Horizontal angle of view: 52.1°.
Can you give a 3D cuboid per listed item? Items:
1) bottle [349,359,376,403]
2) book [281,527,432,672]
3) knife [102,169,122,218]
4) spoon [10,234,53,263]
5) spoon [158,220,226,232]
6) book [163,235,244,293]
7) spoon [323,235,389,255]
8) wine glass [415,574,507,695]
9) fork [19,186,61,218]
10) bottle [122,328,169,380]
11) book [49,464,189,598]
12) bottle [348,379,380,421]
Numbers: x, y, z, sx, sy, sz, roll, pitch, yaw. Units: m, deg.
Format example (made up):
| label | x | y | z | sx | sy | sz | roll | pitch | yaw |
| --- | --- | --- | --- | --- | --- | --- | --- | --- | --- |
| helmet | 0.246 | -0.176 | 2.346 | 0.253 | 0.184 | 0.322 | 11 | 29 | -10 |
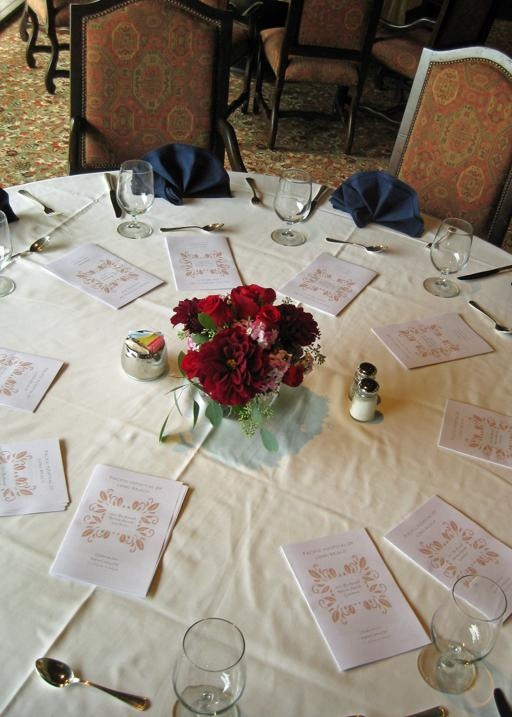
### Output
| label | x | y | z | sx | sy | sz | roll | pitch | yaw |
| --- | --- | --- | --- | --- | --- | --- | --- | --- | --- |
| bottle | 0.187 | 0.043 | 0.923 | 0.029 | 0.069 | 0.028 | 0 | 48 | 0 |
| book | 0.125 | 0.301 | 0.662 | 0.129 | 0.023 | 0.159 | -5 | 42 | -20 |
| knife | -0.379 | -0.445 | 1.406 | 0.040 | 0.025 | 0.276 | -4 | 42 | -14 |
| spoon | -0.499 | -0.249 | 1.183 | 0.027 | 0.020 | 0.119 | 42 | 51 | 6 |
| spoon | -0.170 | -0.340 | 1.343 | 0.156 | 0.024 | 0.031 | 0 | 33 | -6 |
| book | -0.115 | -0.213 | 1.235 | 0.149 | 0.002 | 0.220 | 1 | 49 | -11 |
| spoon | 0.257 | -0.296 | 1.370 | 0.175 | 0.026 | 0.037 | 11 | 68 | 8 |
| wine glass | 0.232 | 0.318 | 0.592 | 0.085 | 0.145 | 0.091 | 0 | 45 | -5 |
| fork | -0.550 | -0.396 | 1.331 | 0.025 | 0.019 | 0.156 | -27 | 53 | -35 |
| bottle | -0.193 | -0.003 | 0.967 | 0.083 | 0.072 | 0.082 | -14 | 42 | -18 |
| book | -0.184 | 0.225 | 0.701 | 0.139 | 0.017 | 0.174 | 15 | 39 | 3 |
| bottle | 0.189 | 0.074 | 0.913 | 0.044 | 0.064 | 0.044 | 0 | 40 | 0 |
